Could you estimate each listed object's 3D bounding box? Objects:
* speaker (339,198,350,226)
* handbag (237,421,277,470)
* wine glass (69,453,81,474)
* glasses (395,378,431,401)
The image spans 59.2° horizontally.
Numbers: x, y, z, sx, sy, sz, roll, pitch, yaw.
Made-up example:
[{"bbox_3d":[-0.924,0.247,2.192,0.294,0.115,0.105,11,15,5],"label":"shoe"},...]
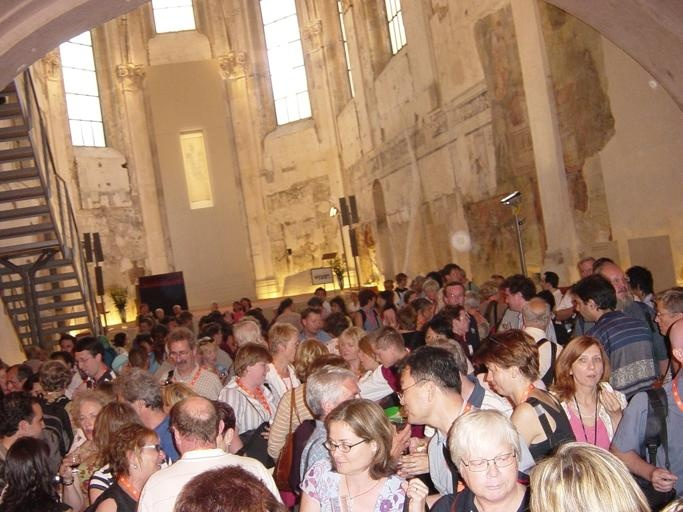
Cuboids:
[{"bbox_3d":[0.108,-1.320,18.191,0.253,0.945,0.845,-7,-4,3],"label":"speaker"},{"bbox_3d":[-0.575,1.299,4.134,0.253,0.260,0.094,0,-4,-1],"label":"handbag"},{"bbox_3d":[-1.646,1.283,3.718,0.087,0.091,0.087,-11,-30,-22],"label":"wine glass"},{"bbox_3d":[0.374,0.693,3.148,0.141,0.039,0.142,-33,-16,-9],"label":"glasses"}]
